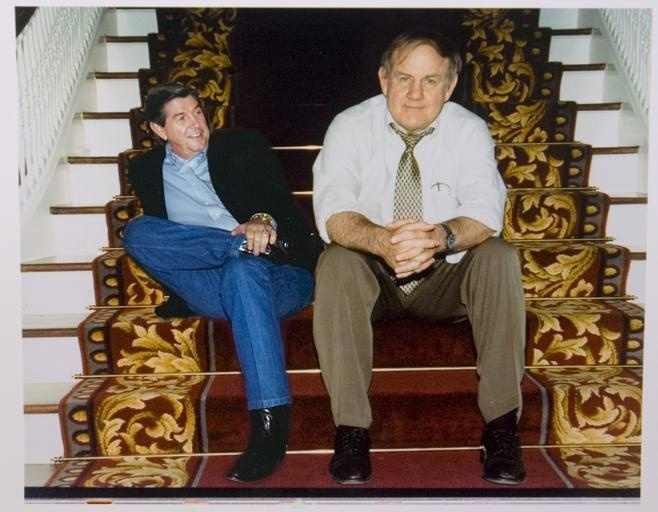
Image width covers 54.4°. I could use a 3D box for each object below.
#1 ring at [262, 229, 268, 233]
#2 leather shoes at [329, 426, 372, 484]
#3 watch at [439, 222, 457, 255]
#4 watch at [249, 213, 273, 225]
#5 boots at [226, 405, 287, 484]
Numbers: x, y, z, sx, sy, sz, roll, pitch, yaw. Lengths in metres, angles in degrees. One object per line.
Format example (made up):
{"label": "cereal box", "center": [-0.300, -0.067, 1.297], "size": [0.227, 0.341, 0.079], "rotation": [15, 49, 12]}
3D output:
{"label": "ring", "center": [-0.220, -0.086, 2.241], "size": [0.016, 0.012, 0.021], "rotation": [-4, 4, -6]}
{"label": "leather shoes", "center": [0.069, 0.631, 2.103], "size": [0.119, 0.127, 0.318], "rotation": [2, 7, 1]}
{"label": "watch", "center": [0.396, -0.057, 2.136], "size": [0.060, 0.096, 0.089], "rotation": [-10, 9, -41]}
{"label": "watch", "center": [-0.246, -0.139, 2.376], "size": [0.059, 0.017, 0.056], "rotation": [2, 33, -2]}
{"label": "boots", "center": [-0.204, 0.608, 2.071], "size": [0.123, 0.225, 0.339], "rotation": [-1, -1, 26]}
